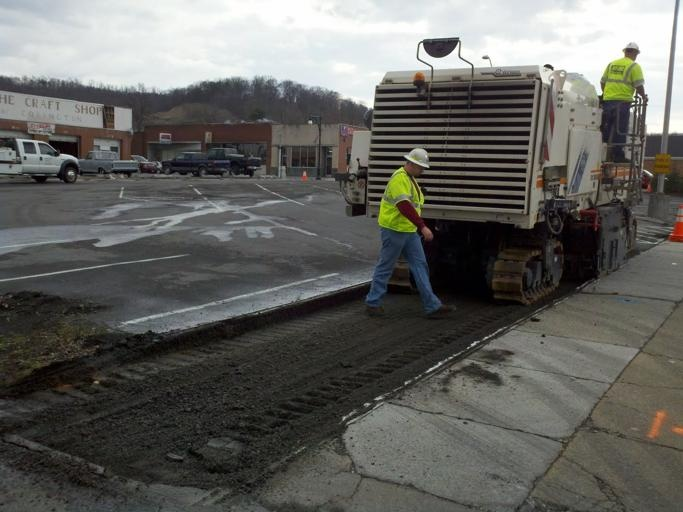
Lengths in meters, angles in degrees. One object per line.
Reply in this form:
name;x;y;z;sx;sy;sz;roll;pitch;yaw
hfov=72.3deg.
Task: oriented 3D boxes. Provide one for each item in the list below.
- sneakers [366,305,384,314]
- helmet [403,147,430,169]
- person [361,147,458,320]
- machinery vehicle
sneakers;0.532;0.818;7.285;0.286;0.213;0.108;-5;16;-17
helmet;1.136;-1.448;6.888;0.362;0.194;0.341;22;25;7
person;1.082;-0.371;7.172;1.155;2.571;1.046;5;9;35
machinery vehicle;3.510;-1.912;10.453;4.809;4.023;6.889;14;20;43
